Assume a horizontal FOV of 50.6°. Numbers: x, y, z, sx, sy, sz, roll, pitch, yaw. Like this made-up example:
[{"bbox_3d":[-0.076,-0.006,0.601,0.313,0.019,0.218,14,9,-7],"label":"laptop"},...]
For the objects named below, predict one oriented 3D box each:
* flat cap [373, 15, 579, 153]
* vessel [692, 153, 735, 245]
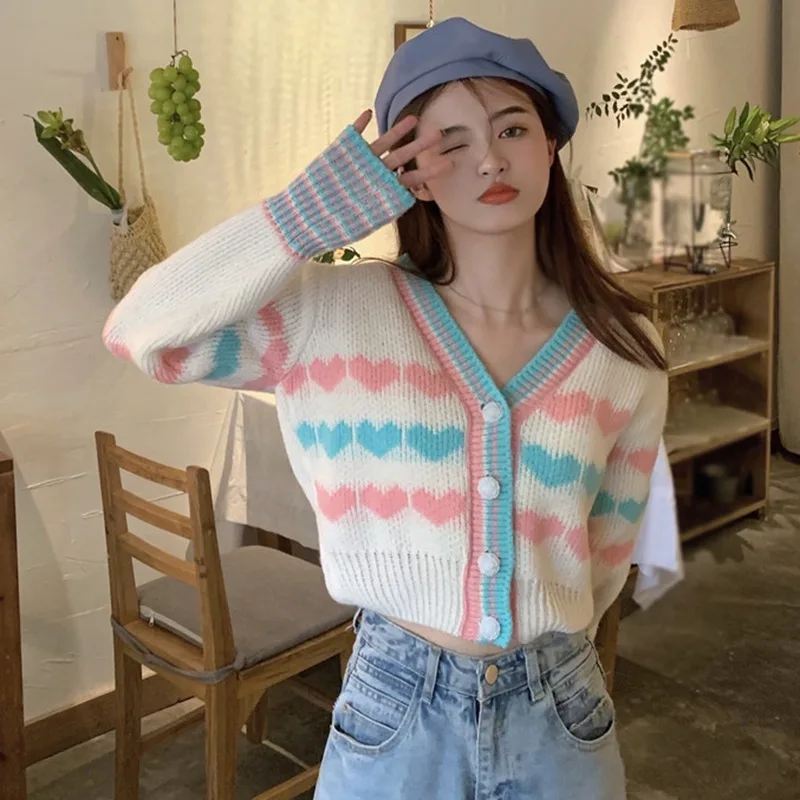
[{"bbox_3d":[0.090,-0.353,0.949,0.234,0.120,0.137,-1,14,0],"label":"flat cap"},{"bbox_3d":[1.343,-0.867,3.650,0.179,0.407,0.663,4,14,20],"label":"vessel"}]
